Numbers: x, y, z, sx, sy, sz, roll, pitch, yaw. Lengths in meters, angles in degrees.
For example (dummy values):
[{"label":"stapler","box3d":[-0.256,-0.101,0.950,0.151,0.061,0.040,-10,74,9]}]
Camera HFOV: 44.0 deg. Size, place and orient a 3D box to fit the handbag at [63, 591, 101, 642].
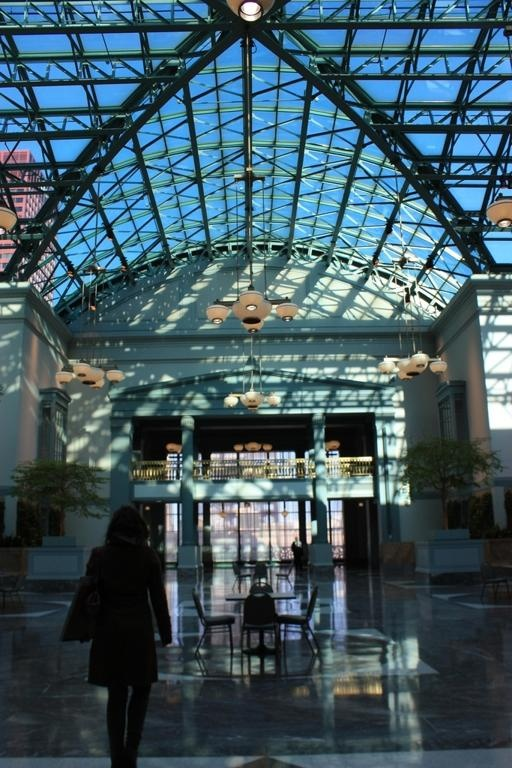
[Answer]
[{"label":"handbag","box3d":[-0.908,1.137,3.163,0.213,0.327,0.074,7,-3,-20]}]
